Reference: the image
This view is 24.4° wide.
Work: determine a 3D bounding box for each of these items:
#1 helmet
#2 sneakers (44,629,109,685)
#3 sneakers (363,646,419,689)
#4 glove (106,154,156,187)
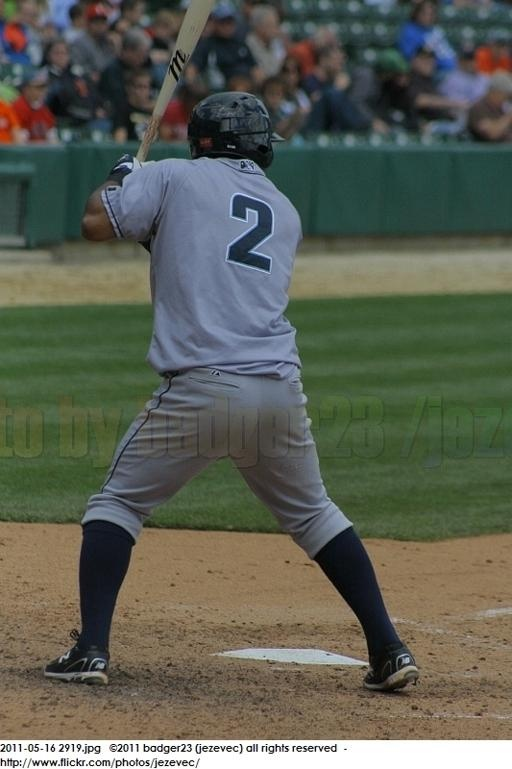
[{"bbox_3d":[-0.057,-0.683,3.151,0.289,0.192,0.200,-10,23,-37],"label":"helmet"},{"bbox_3d":[-0.458,0.704,3.047,0.093,0.130,0.238,11,-14,-41],"label":"sneakers"},{"bbox_3d":[0.349,0.755,3.110,0.071,0.083,0.195,5,-25,-31],"label":"sneakers"},{"bbox_3d":[-0.339,-0.548,3.064,0.061,0.065,0.165,12,31,23],"label":"glove"}]
